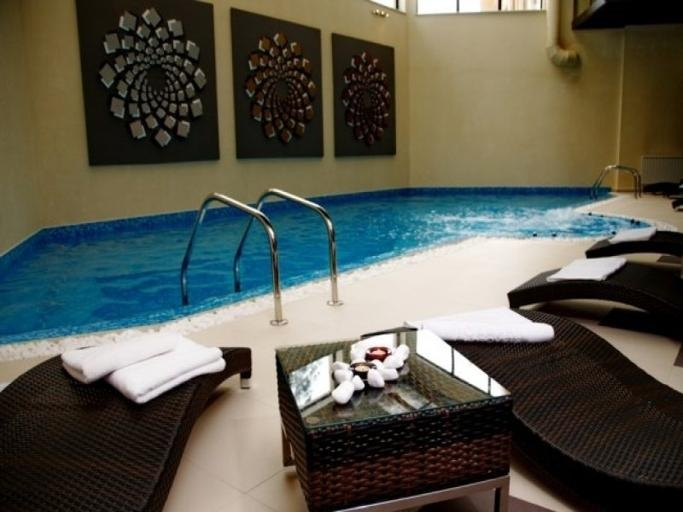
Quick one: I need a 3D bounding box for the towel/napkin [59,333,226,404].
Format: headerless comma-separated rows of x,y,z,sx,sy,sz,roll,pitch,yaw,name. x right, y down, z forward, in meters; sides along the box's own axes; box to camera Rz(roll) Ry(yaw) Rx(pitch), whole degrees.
-0.802,0.436,1.933,0.328,0.090,0.346,7,12,35,towel/napkin
